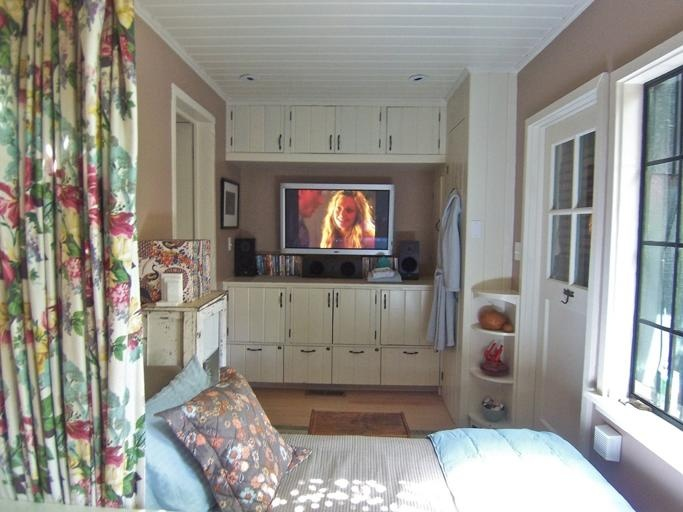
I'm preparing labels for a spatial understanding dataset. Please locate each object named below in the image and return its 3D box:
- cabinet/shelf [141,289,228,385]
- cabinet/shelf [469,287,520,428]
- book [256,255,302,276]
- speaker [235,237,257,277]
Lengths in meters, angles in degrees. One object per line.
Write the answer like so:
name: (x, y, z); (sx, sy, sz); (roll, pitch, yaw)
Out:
cabinet/shelf: (-0.885, 0.446, 2.909); (0.201, 0.536, 0.555); (0, 2, 6)
cabinet/shelf: (1.056, 0.688, 3.681); (0.313, 1.046, 0.300); (-1, 4, 4)
book: (-0.566, 0.077, 4.777); (0.404, 0.201, 0.062); (-1, 4, 5)
speaker: (-0.801, 0.010, 4.703); (0.197, 0.332, 0.209); (4, -11, -25)
